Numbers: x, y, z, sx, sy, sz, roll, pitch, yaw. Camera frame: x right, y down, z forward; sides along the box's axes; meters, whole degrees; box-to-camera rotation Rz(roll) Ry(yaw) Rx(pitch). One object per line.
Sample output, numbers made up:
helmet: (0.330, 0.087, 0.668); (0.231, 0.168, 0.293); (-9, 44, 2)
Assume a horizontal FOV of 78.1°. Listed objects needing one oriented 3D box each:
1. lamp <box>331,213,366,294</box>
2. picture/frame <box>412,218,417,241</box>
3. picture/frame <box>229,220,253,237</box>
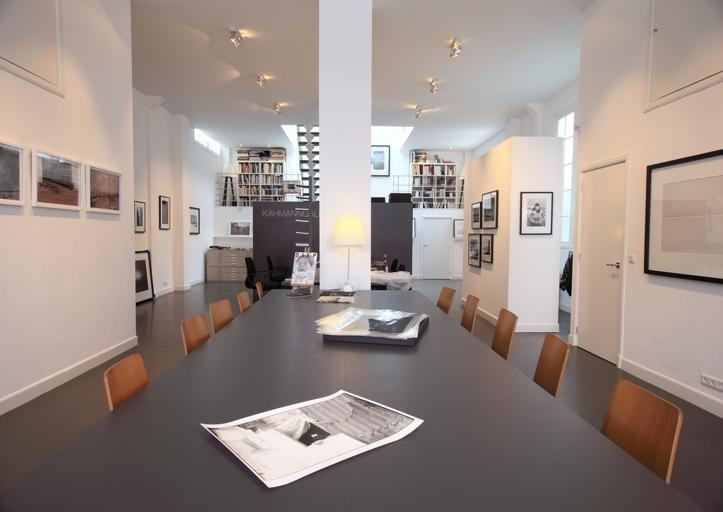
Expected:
lamp: (-0.121, -0.033, 4.801); (0.356, 0.741, 0.718); (0, 8, -2)
picture/frame: (1.557, -0.776, 12.944); (0.093, 0.615, 0.055); (-3, 9, -21)
picture/frame: (-3.513, -0.763, 12.809); (0.440, 0.369, 0.065); (1, -3, -6)
